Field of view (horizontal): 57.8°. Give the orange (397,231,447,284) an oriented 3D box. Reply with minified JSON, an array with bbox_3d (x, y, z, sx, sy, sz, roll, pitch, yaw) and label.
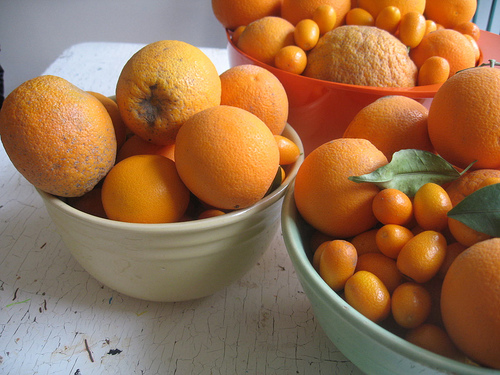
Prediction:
[{"bbox_3d":[0.207,0.076,0.522,0.039,0.046,0.061,-9,20,-10],"label":"orange"}]

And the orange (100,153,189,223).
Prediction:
[{"bbox_3d":[-0.139,0.004,0.627,0.094,0.097,0.089,-1,14,14],"label":"orange"}]

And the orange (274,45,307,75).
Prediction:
[{"bbox_3d":[0.069,-0.213,0.759,0.044,0.049,0.048,4,18,6],"label":"orange"}]

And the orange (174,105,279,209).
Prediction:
[{"bbox_3d":[-0.044,-0.044,0.613,0.118,0.158,0.123,-4,8,13],"label":"orange"}]

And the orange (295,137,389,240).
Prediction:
[{"bbox_3d":[0.099,0.007,0.588,0.080,0.112,0.087,-1,-1,-28],"label":"orange"}]

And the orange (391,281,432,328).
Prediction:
[{"bbox_3d":[0.177,0.130,0.499,0.040,0.055,0.045,2,37,8],"label":"orange"}]

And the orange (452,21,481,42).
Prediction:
[{"bbox_3d":[0.415,-0.289,0.860,0.041,0.040,0.038,5,29,-11],"label":"orange"}]

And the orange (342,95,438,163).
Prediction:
[{"bbox_3d":[0.199,-0.084,0.651,0.098,0.089,0.084,17,6,10],"label":"orange"}]

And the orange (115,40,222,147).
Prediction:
[{"bbox_3d":[-0.118,-0.139,0.662,0.138,0.157,0.136,-5,23,-17],"label":"orange"}]

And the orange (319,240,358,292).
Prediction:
[{"bbox_3d":[0.104,0.088,0.535,0.039,0.064,0.047,7,18,1],"label":"orange"}]

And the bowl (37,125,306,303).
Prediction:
[{"bbox_3d":[-0.124,0.063,0.681,0.275,0.179,0.293,-22,22,9],"label":"bowl"}]

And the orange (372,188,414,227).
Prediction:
[{"bbox_3d":[0.175,0.026,0.549,0.038,0.054,0.041,-2,6,-3],"label":"orange"}]

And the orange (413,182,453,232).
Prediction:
[{"bbox_3d":[0.215,0.024,0.542,0.036,0.061,0.041,-3,9,18],"label":"orange"}]

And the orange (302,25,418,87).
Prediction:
[{"bbox_3d":[0.186,-0.212,0.750,0.132,0.113,0.085,11,15,-3],"label":"orange"}]

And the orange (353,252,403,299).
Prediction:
[{"bbox_3d":[0.156,0.086,0.546,0.042,0.055,0.047,-18,34,34],"label":"orange"}]

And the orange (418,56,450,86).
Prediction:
[{"bbox_3d":[0.304,-0.198,0.747,0.044,0.064,0.047,1,34,22],"label":"orange"}]

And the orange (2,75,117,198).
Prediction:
[{"bbox_3d":[-0.244,-0.065,0.587,0.124,0.110,0.123,25,54,16],"label":"orange"}]

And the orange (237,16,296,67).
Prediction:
[{"bbox_3d":[0.032,-0.259,0.844,0.096,0.085,0.093,5,53,25],"label":"orange"}]

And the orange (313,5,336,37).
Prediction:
[{"bbox_3d":[0.129,-0.300,0.817,0.036,0.052,0.040,11,34,12],"label":"orange"}]

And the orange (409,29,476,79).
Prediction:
[{"bbox_3d":[0.336,-0.218,0.794,0.082,0.109,0.083,-4,-5,45],"label":"orange"}]

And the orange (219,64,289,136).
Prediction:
[{"bbox_3d":[0.009,-0.134,0.712,0.091,0.117,0.100,-9,47,19],"label":"orange"}]
